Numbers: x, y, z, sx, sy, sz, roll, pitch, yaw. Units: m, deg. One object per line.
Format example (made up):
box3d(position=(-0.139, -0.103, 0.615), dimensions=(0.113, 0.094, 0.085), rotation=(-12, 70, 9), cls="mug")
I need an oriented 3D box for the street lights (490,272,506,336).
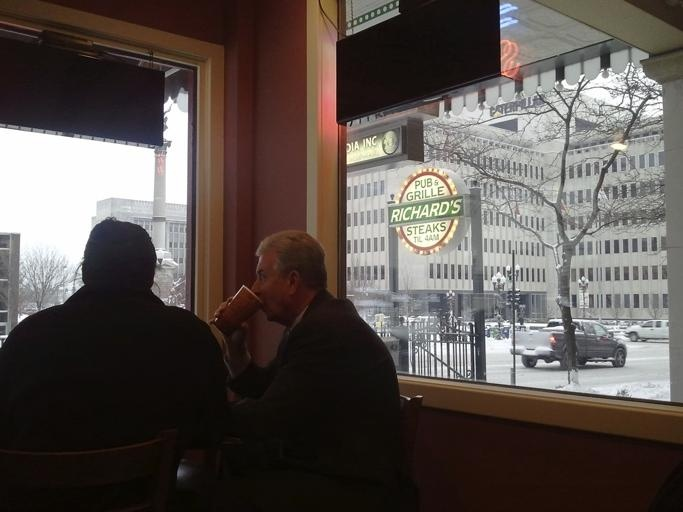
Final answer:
box3d(position=(0.729, 0.224, 2.778), dimensions=(0.019, 0.304, 0.083), rotation=(0, -3, -24), cls="street lights")
